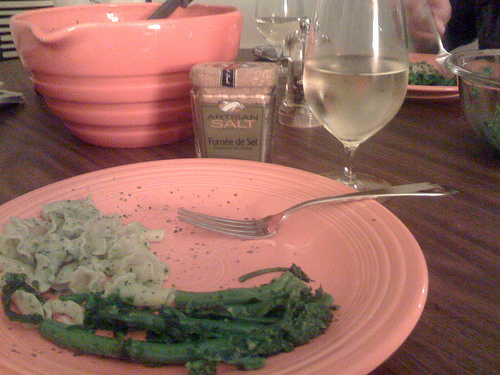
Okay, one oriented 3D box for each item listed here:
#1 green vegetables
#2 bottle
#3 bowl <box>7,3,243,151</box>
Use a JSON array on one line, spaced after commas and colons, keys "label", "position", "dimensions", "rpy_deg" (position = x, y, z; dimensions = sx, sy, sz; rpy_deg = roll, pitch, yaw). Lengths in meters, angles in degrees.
[{"label": "green vegetables", "position": [-0.073, 0.175, 0.583], "dimensions": [0.380, 0.050, 0.140], "rpy_deg": [-1, 22, 0]}, {"label": "bottle", "position": [-0.037, -0.165, 0.924], "dimensions": [0.185, 0.198, 0.127], "rpy_deg": [1, 44, 0]}, {"label": "bowl", "position": [-0.291, -0.300, 1.098], "dimensions": [0.526, 0.221, 0.451], "rpy_deg": [-1, 27, 1]}]
